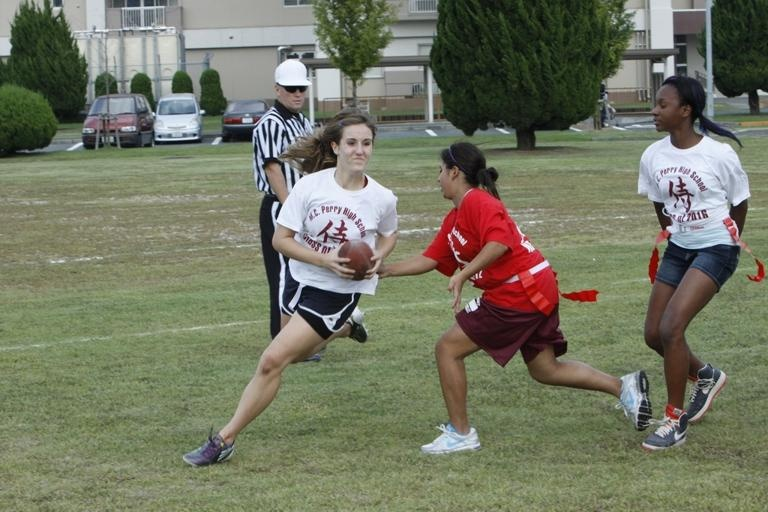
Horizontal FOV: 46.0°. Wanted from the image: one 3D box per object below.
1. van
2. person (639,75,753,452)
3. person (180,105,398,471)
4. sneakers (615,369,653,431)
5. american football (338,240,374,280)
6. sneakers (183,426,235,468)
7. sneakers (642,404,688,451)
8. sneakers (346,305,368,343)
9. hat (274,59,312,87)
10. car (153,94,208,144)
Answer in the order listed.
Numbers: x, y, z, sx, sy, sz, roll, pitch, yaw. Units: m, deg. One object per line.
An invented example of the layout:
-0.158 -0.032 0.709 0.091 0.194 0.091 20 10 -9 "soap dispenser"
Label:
-9.385 -4.736 31.579 1.966 1.259 2.882 -1 4 4 "van"
2.271 0.007 6.716 0.796 2.663 0.870 1 10 23 "person"
-0.626 0.172 6.646 1.476 2.435 0.776 -4 9 -12 "person"
1.854 1.043 6.691 0.277 0.453 0.196 -15 7 7 "sneakers"
-0.211 -0.006 6.450 0.270 0.251 0.241 -1 16 -5 "american football"
-1.249 1.365 6.413 0.148 0.168 0.438 29 16 33 "sneakers"
2.082 1.260 6.569 0.534 0.269 0.179 -1 4 -33 "sneakers"
-0.288 0.628 8.226 0.159 0.382 0.193 18 42 34 "sneakers"
-0.837 -1.616 7.961 0.264 0.153 0.299 -4 13 -15 "hat"
-7.784 -5.164 34.050 1.617 1.020 2.397 -2 6 -4 "car"
